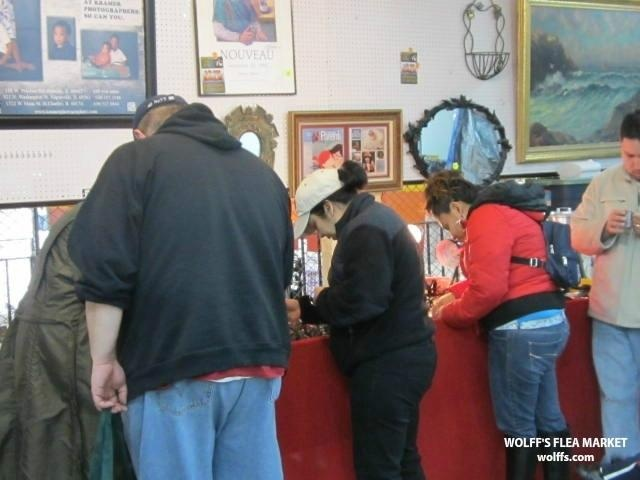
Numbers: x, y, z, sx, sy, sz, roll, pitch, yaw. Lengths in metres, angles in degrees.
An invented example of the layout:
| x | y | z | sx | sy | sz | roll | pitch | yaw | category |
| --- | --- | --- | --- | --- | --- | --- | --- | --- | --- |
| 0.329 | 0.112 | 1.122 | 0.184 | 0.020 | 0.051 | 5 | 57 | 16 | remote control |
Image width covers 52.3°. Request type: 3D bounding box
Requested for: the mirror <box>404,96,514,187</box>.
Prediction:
| x | y | z | sx | sy | sz | roll | pitch | yaw | category |
| --- | --- | --- | --- | --- | --- | --- | --- | --- | --- |
| 0.850 | -0.623 | 4.154 | 0.597 | 0.501 | 0.052 | -6 | 9 | -26 | mirror |
